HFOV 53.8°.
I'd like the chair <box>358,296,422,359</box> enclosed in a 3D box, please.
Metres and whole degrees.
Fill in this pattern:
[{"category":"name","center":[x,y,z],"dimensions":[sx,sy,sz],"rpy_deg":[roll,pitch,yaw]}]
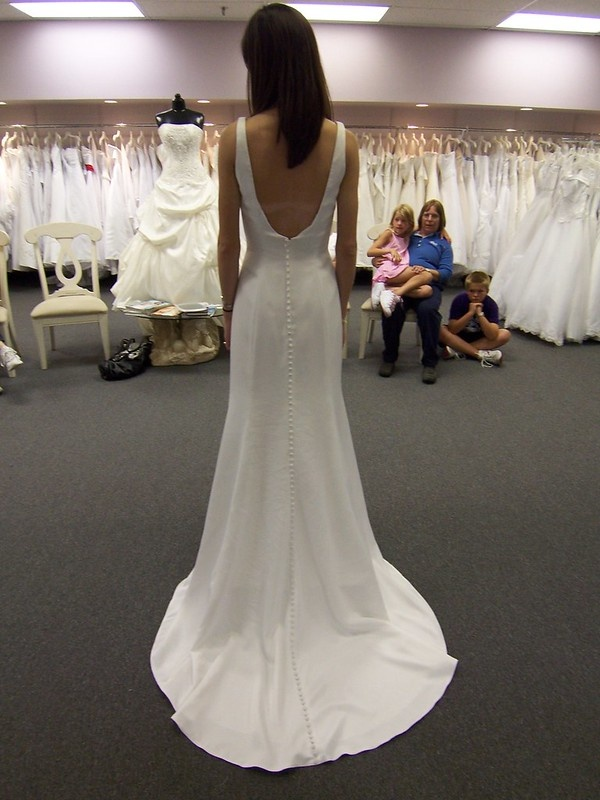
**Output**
[{"category":"chair","center":[0.664,-0.531,4.318],"dimensions":[0.515,0.362,0.505],"rpy_deg":[-5,14,-9]}]
